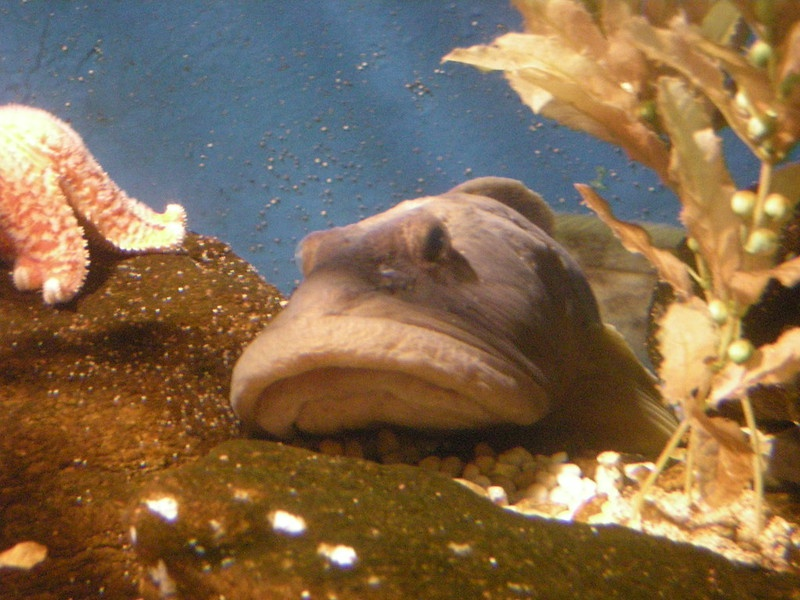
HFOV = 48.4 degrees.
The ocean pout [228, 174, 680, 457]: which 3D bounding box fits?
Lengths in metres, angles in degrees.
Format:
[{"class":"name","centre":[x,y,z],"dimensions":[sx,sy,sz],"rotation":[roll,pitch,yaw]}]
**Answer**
[{"class":"ocean pout","centre":[0.283,-0.012,2.254],"dimensions":[1.118,0.533,1.446],"rotation":[-3,-1,25]}]
